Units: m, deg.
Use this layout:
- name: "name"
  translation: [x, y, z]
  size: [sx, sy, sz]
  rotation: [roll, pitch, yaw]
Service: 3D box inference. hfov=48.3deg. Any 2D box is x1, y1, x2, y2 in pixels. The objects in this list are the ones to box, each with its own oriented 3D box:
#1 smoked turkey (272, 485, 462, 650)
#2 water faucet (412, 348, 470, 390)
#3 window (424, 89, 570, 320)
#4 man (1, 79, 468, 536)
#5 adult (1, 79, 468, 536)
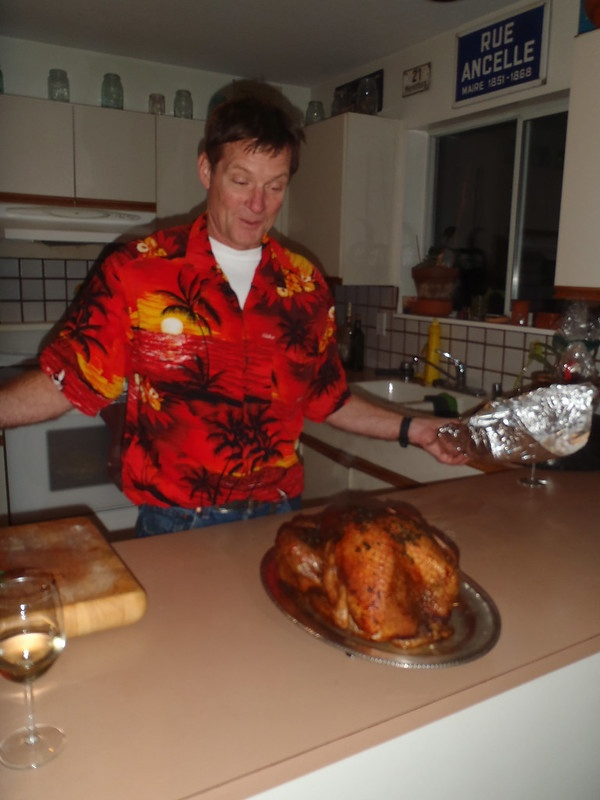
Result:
- name: "smoked turkey"
  translation: [0.084, 0.184, 0.789]
  size: [0.191, 0.116, 0.240]
  rotation: [-4, 13, -22]
- name: "water faucet"
  translation: [0.531, -0.112, 2.451]
  size: [0.071, 0.077, 0.224]
  rotation: [-21, 26, -13]
- name: "window"
  translation: [0.748, -0.676, 2.561]
  size: [0.051, 0.763, 0.804]
  rotation: [-1, 16, -24]
- name: "man"
  translation: [-0.187, -0.142, 1.156]
  size: [0.642, 0.765, 0.191]
  rotation: [-4, 13, -28]
- name: "adult"
  translation: [-0.187, -0.142, 1.156]
  size: [0.642, 0.765, 0.191]
  rotation: [-4, 13, -28]
